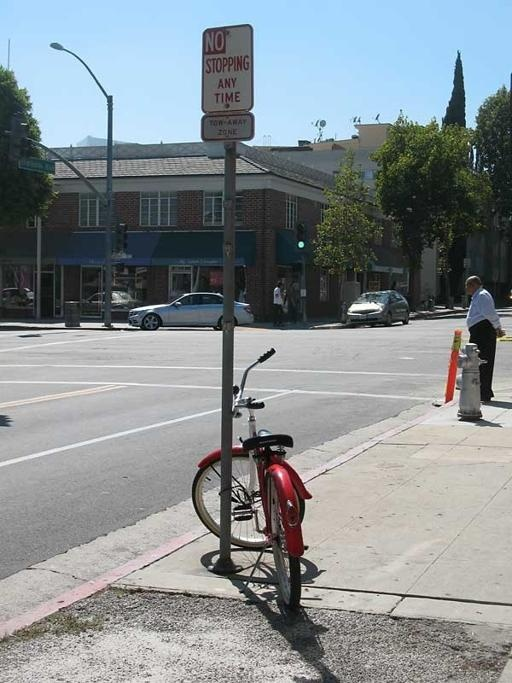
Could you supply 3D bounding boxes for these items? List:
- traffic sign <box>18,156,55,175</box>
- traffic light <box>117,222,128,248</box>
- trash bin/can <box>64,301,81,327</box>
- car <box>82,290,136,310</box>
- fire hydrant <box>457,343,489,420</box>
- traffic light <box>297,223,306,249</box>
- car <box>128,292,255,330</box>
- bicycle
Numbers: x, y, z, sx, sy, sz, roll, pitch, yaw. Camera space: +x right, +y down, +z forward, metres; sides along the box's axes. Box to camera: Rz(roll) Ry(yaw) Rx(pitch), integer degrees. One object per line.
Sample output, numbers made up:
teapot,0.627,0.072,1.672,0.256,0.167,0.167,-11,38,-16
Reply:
traffic sign,-7.117,-5.788,29.913,0.524,0.414,2.214,2,4,6
traffic light,-4.952,-3.878,33.984,0.393,0.896,0.443,0,4,-25
trash bin/can,-6.865,-1.000,34.303,0.761,1.273,0.773,1,1,-6
car,-6.714,-1.895,41.984,1.899,0.708,0.934,7,7,18
fire hydrant,2.468,0.471,10.715,0.278,0.855,0.448,2,4,14
traffic light,1.738,-4.221,36.892,0.306,1.033,0.771,1,4,1
car,-2.440,-1.074,32.781,4.114,1.336,1.014,2,4,7
bicycle,0.064,0.874,4.865,0.581,0.866,1.277,-7,10,-11
